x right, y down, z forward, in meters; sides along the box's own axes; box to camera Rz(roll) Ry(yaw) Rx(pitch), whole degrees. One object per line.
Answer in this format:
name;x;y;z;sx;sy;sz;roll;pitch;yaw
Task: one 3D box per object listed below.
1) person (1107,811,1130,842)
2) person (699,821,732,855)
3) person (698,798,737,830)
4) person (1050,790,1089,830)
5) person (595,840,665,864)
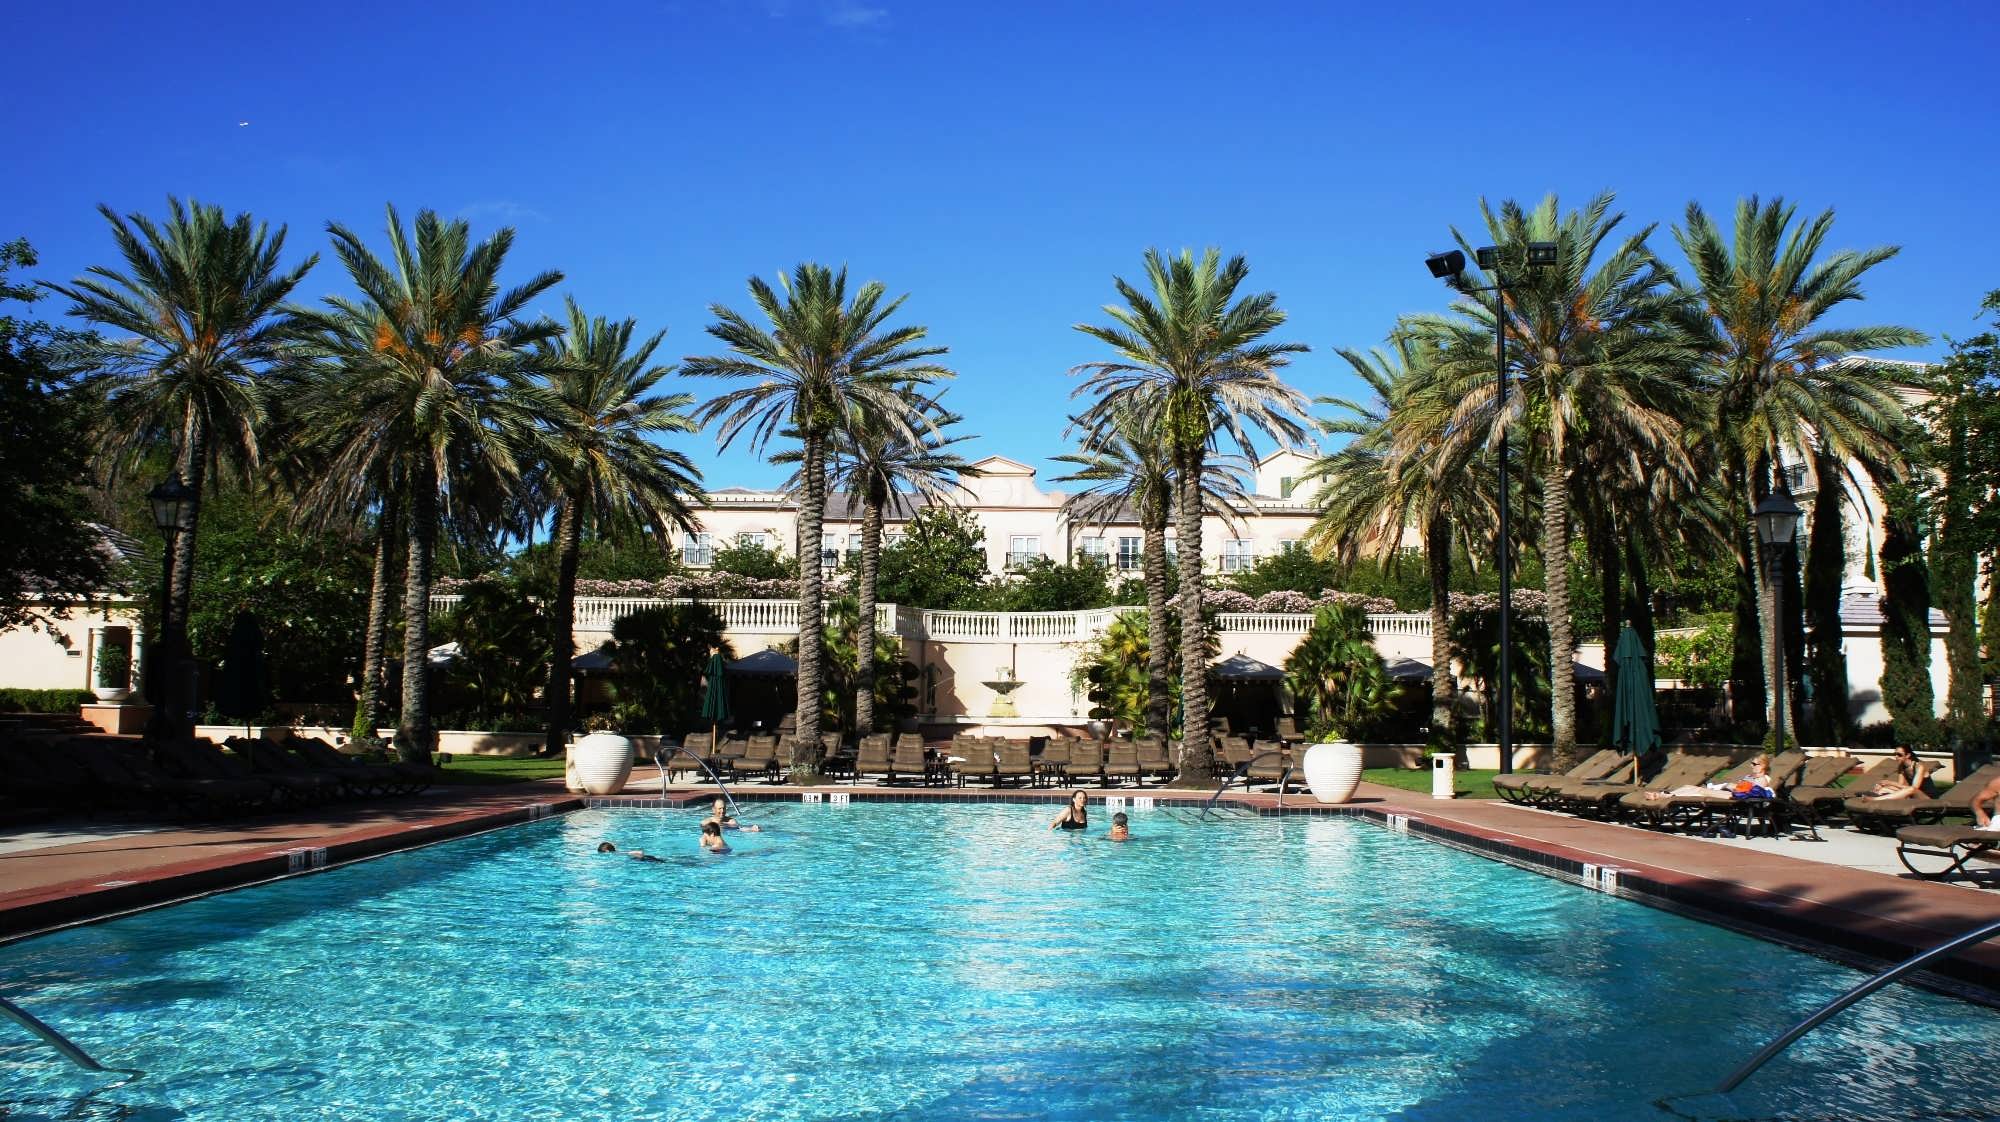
person;2.376;5.221;27.087;0.430;0.559;0.760;-2;-5;5
person;-5.384;5.176;25.732;0.581;0.572;1.136;0;-5;-13
person;-5.877;5.173;28.081;0.588;0.444;0.965;-4;-4;-4
person;1.500;5.367;29.469;0.854;1.100;0.399;3;2;-16
person;-6.807;5.320;24.926;0.997;0.352;0.539;10;-12;-3
